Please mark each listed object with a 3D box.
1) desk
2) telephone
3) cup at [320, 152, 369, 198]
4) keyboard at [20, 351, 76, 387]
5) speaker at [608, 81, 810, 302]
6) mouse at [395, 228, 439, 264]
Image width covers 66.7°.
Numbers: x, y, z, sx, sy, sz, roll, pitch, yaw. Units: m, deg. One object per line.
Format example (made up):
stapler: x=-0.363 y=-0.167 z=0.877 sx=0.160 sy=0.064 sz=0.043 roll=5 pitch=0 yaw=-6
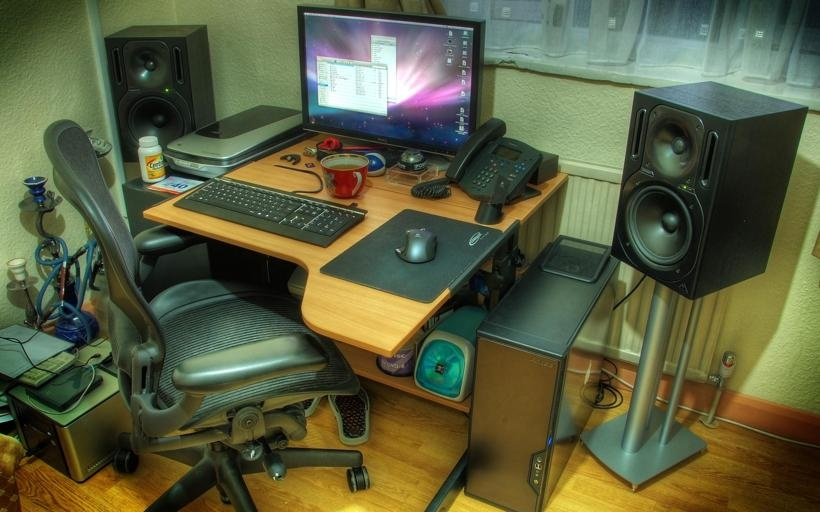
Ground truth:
desk: x=-0.188 y=0.302 z=2.499 sx=1.234 sy=0.705 sz=1.164 roll=22 pitch=44 yaw=26
telephone: x=0.321 y=-0.341 z=2.342 sx=0.300 sy=0.209 sz=0.310 roll=-29 pitch=44 yaw=-23
cup: x=-0.221 y=-0.265 z=2.293 sx=0.167 sy=0.110 sz=0.235 roll=-8 pitch=17 yaw=-22
keyboard: x=-1.389 y=0.438 z=2.396 sx=0.091 sy=0.035 sz=0.156 roll=17 pitch=34 yaw=27
speaker: x=0.936 y=-0.195 z=2.010 sx=0.521 sy=0.588 sz=0.356 roll=10 pitch=29 yaw=15
mouse: x=0.029 y=-0.047 z=2.077 sx=0.150 sy=0.059 sz=0.183 roll=1 pitch=29 yaw=6
